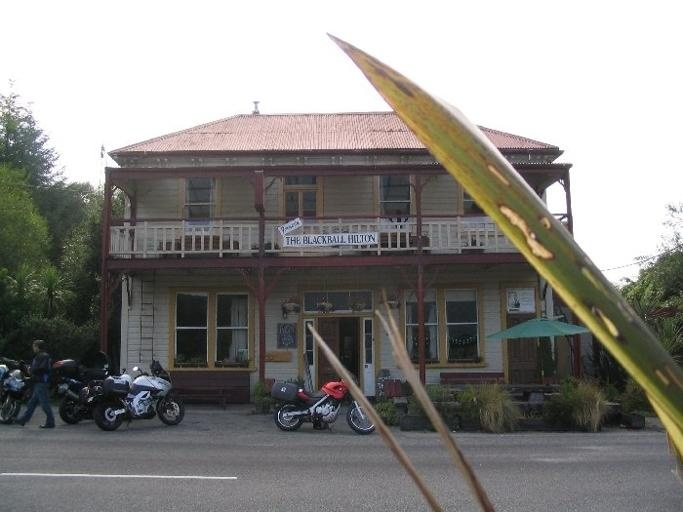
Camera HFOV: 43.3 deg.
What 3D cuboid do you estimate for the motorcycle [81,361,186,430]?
[{"bbox_3d":[-4.736,3.266,20.269,0.937,1.589,2.440,-11,-11,41],"label":"motorcycle"}]

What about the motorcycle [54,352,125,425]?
[{"bbox_3d":[-6.152,3.040,20.779,0.985,1.662,2.605,-8,-7,22],"label":"motorcycle"}]
